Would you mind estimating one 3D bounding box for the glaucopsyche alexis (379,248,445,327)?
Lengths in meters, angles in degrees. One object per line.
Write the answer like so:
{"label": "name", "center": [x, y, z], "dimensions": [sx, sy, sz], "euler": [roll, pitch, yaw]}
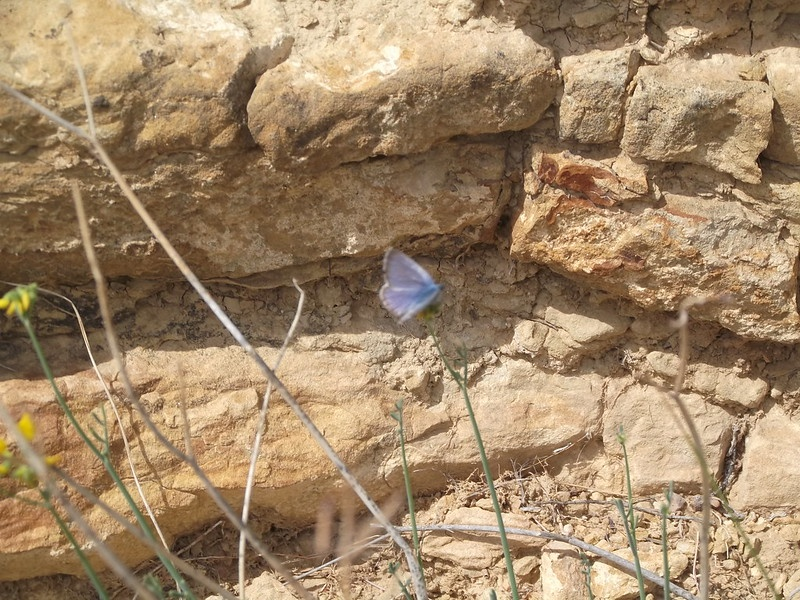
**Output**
{"label": "glaucopsyche alexis", "center": [0.019, -0.047, 5.405], "dimensions": [0.197, 0.289, 0.082], "euler": [-36, -30, 22]}
